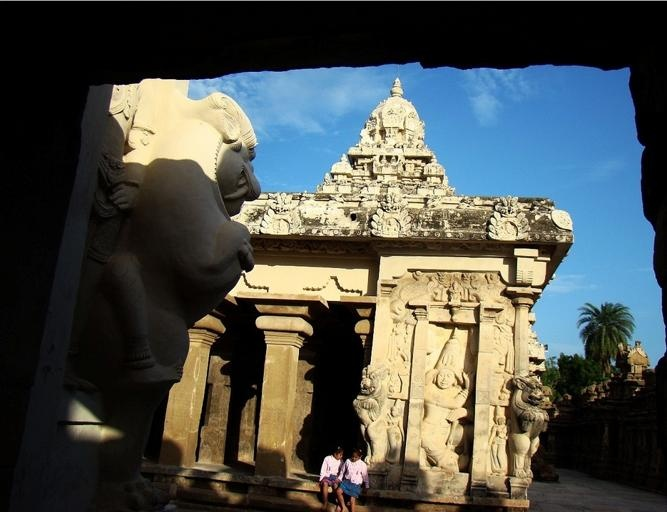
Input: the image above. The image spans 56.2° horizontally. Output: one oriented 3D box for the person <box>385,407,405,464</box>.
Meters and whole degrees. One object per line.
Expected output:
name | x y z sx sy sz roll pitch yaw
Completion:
person | 0.840 2.424 8.559 0.241 0.821 0.121 5 -13 5
